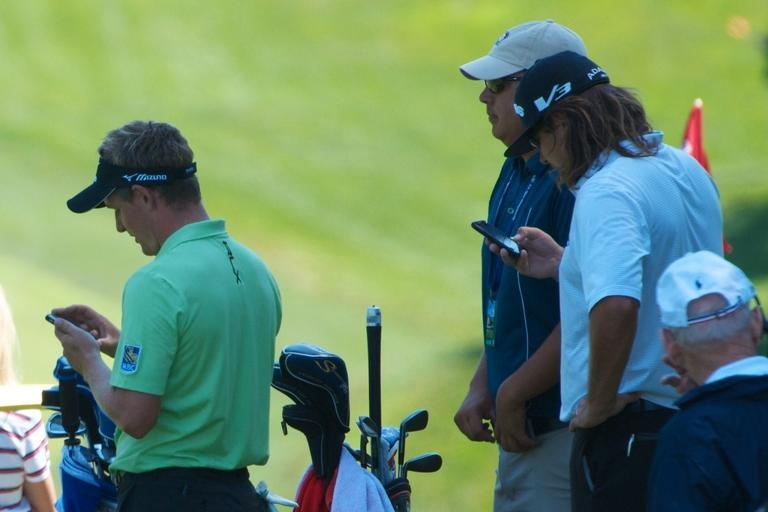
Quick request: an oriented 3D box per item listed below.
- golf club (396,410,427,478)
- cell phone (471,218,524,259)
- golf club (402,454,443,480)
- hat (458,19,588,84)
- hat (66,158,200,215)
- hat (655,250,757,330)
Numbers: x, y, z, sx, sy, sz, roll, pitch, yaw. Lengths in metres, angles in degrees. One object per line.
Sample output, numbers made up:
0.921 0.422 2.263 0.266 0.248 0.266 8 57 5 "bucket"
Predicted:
0.186 1.256 9.957 0.188 0.054 0.653 -17 -50 -22 "golf club"
0.691 -0.119 9.382 0.163 0.331 0.048 -23 -31 -50 "cell phone"
0.254 1.354 9.802 0.216 0.129 0.061 -8 -57 -5 "golf club"
0.876 -1.308 9.733 0.582 0.316 0.403 2 5 -1 "hat"
-1.541 -0.446 9.183 0.559 0.221 0.361 -14 5 -2 "hat"
1.909 0.159 8.672 0.571 0.349 0.404 -7 -1 -38 "hat"
